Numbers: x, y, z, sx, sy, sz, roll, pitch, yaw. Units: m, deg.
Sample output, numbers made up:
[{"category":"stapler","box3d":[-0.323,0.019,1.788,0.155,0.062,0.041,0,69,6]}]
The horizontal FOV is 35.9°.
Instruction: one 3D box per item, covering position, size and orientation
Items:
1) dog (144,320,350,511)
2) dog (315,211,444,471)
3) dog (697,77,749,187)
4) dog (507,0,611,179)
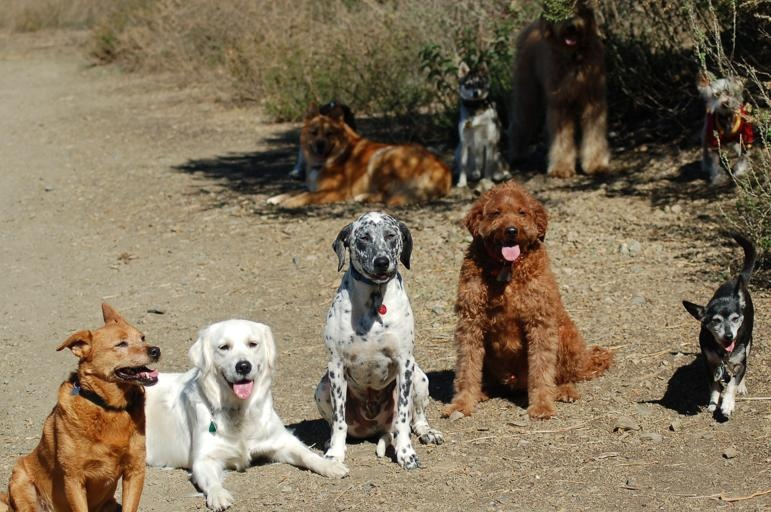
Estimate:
[{"category":"dog","box3d":[-2.181,2.036,16.391,1.979,1.655,2.894,-4,10,-29]},{"category":"dog","box3d":[-0.201,1.148,16.371,1.567,3.132,1.286,-10,21,-5]},{"category":"dog","box3d":[5.910,-2.288,20.540,0.731,1.833,2.170,-5,4,19]},{"category":"dog","box3d":[3.272,-3.229,22.370,1.199,3.042,2.261,-21,24,-30]}]
